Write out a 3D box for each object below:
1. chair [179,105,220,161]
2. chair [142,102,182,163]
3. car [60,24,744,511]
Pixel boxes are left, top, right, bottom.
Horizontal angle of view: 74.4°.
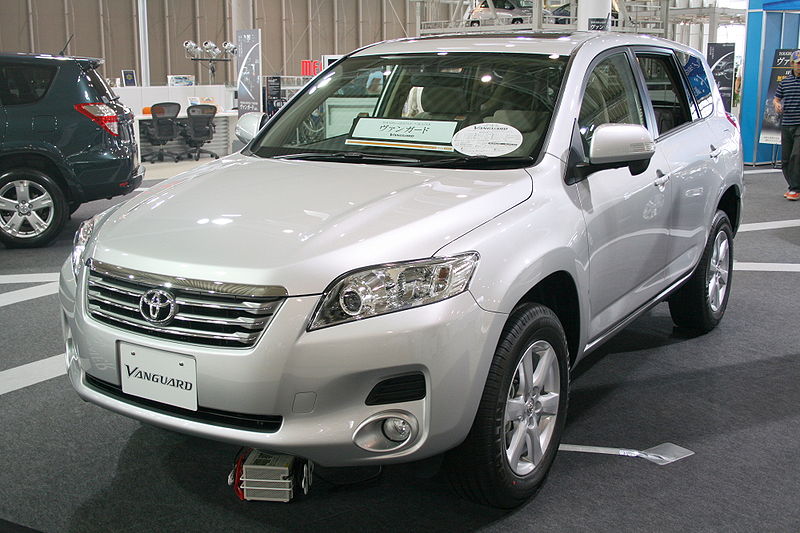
[{"bbox_3d":[-5.249,-3.529,13.594,1.009,1.428,1.055,-9,24,-32],"label":"chair"},{"bbox_3d":[-5.698,-3.241,12.647,0.845,1.418,0.916,1,15,-15],"label":"chair"},{"bbox_3d":[0.506,-0.049,3.053,2.089,1.605,3.584,5,13,34],"label":"car"}]
